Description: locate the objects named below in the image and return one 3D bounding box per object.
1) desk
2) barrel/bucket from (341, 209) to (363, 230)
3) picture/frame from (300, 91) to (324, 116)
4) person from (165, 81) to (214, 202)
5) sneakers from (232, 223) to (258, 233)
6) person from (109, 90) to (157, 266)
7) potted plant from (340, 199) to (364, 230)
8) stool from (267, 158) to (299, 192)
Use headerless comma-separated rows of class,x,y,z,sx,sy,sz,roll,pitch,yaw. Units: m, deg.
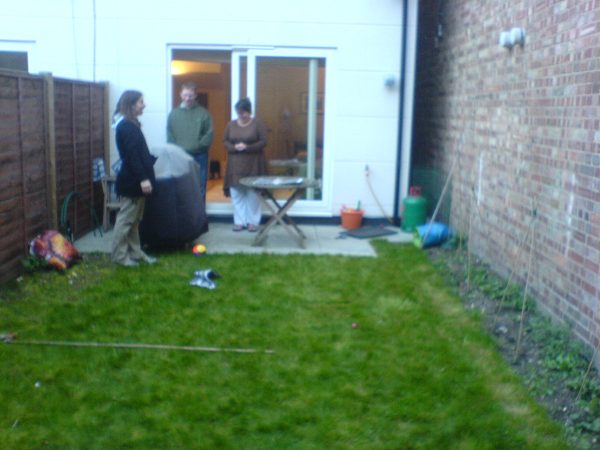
desk,-0.311,-0.168,6.993,1.043,0.880,1.104,-1,7,-8
barrel/bucket,0.801,-0.123,7.907,0.292,0.267,0.313,2,10,0
picture/frame,0.139,-1.910,7.829,0.329,0.361,0.084,-5,6,-4
person,-1.722,-1.106,7.642,0.636,2.047,0.636,4,20,-2
sneakers,-0.854,0.037,7.644,0.391,0.181,0.152,3,5,-5
person,-1.952,-0.501,5.708,0.538,1.984,0.464,-5,17,-17
potted plant,0.826,-0.132,7.888,0.384,0.467,0.353,2,1,10
stool,-0.255,-0.778,8.050,0.454,0.482,0.360,2,19,1
